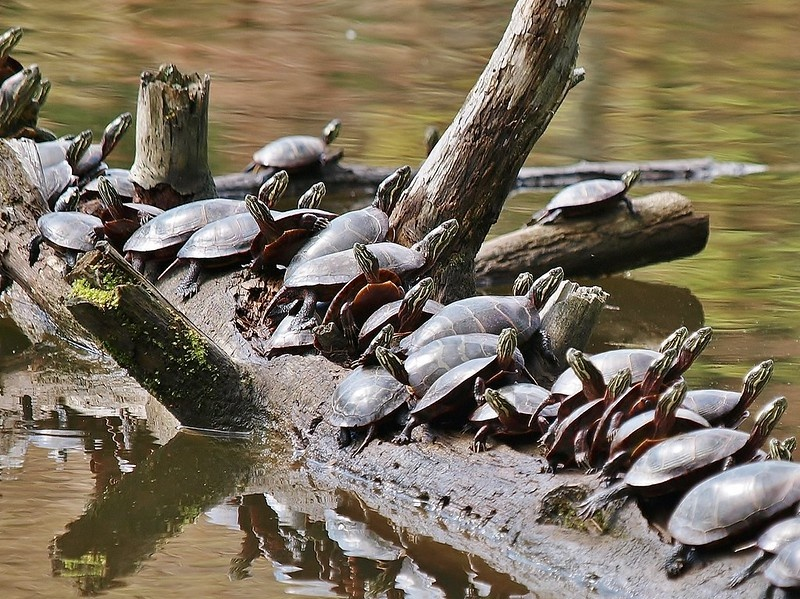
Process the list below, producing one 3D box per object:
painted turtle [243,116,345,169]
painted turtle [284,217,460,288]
[{"bbox_3d":[-0.991,-1.626,13.153,0.907,0.250,0.557,-15,15,-28],"label":"painted turtle"},{"bbox_3d":[-0.192,-0.313,9.327,1.032,0.234,0.583,-12,3,-18],"label":"painted turtle"}]
